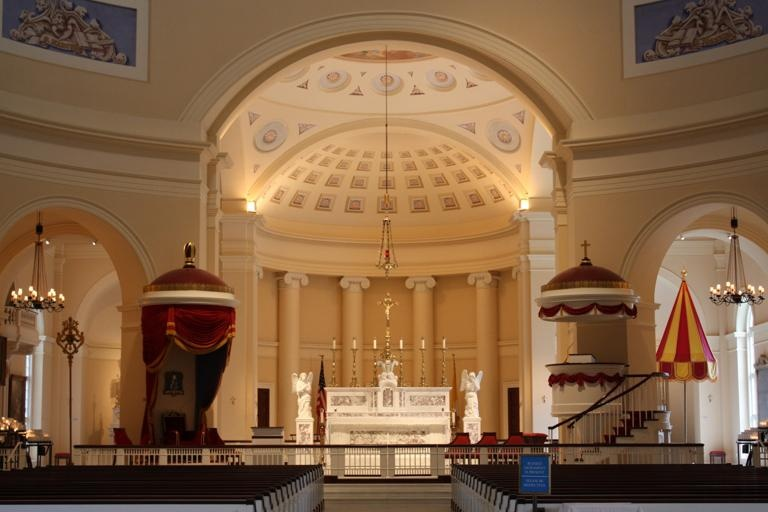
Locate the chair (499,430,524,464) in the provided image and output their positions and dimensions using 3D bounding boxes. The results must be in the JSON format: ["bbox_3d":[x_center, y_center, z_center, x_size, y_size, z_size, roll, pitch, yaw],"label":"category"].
[{"bbox_3d":[2.733,4.026,17.430,0.501,0.632,1.919,-3,-16,9],"label":"chair"}]

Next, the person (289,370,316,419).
[{"bbox_3d":[-2.252,3.890,23.420,0.525,1.415,1.536,1,-15,-6],"label":"person"}]

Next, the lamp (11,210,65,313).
[{"bbox_3d":[-9.841,0.519,23.848,1.359,2.745,5.427,5,-17,-21],"label":"lamp"}]

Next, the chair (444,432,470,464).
[{"bbox_3d":[1.629,4.040,17.454,0.476,0.635,0.486,0,-15,2],"label":"chair"}]

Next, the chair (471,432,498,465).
[{"bbox_3d":[2.109,3.971,17.270,0.541,0.751,0.554,-1,-6,5],"label":"chair"}]
